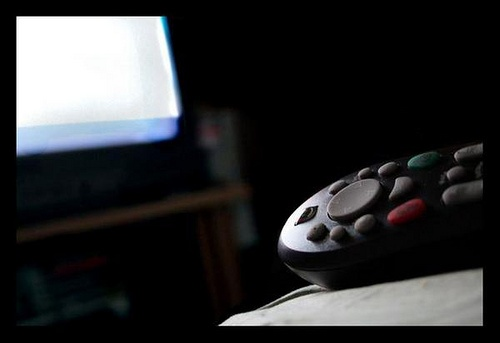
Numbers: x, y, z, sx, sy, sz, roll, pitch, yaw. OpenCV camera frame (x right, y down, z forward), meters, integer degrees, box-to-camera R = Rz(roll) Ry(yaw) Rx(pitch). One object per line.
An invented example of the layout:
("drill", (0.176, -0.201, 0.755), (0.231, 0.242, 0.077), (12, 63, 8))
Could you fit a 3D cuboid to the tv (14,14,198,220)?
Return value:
("tv", (-0.255, -0.119, 0.673), (0.321, 0.275, 0.176), (-4, -7, -2))
